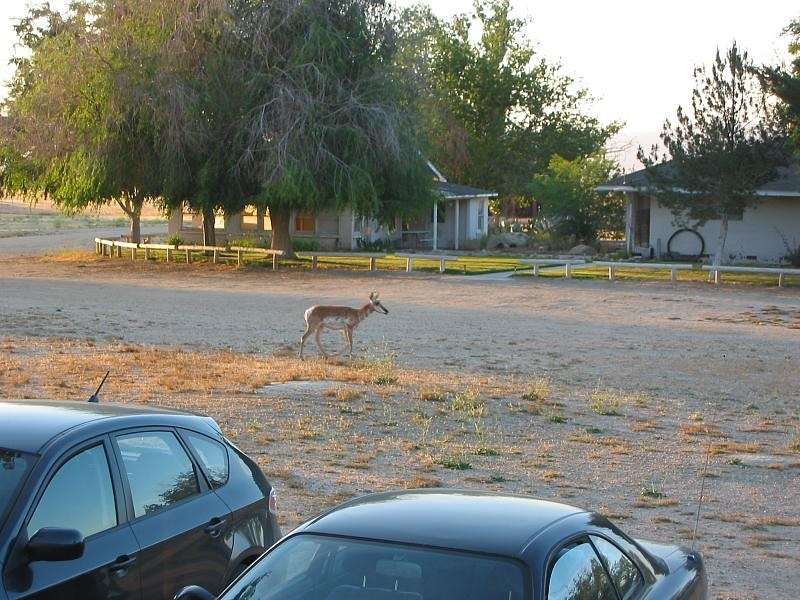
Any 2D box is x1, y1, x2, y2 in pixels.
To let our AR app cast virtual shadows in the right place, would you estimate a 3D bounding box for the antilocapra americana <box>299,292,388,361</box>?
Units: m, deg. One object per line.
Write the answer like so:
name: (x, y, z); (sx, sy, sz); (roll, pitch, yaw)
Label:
antilocapra americana: (-1.493, 0.720, 33.223); (2.066, 1.328, 1.033); (-3, 13, -21)
